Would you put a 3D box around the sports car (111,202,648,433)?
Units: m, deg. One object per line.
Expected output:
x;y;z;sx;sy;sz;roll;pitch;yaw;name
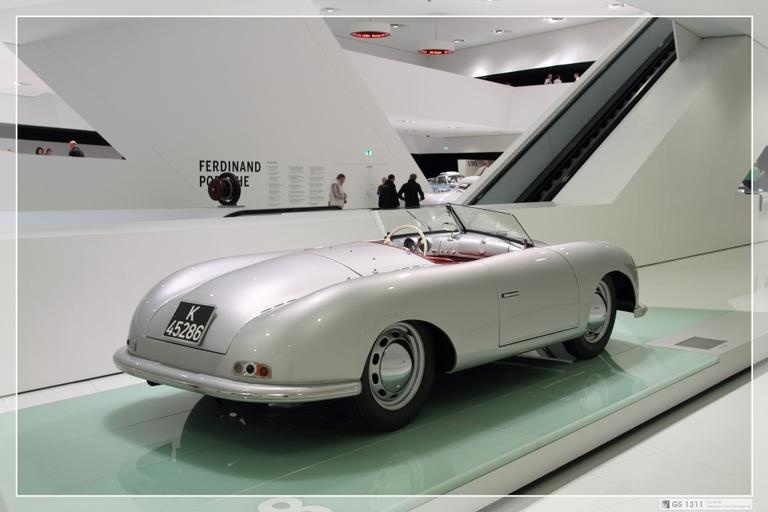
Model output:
0.240;0.229;3.069;3.304;1.106;1.583;-9;10;-36;sports car

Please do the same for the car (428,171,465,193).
2.480;-3.004;17.932;1.218;0.712;3.819;0;9;7;car

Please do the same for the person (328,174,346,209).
-1.024;-1.284;10.075;0.383;1.024;0.376;0;5;17;person
